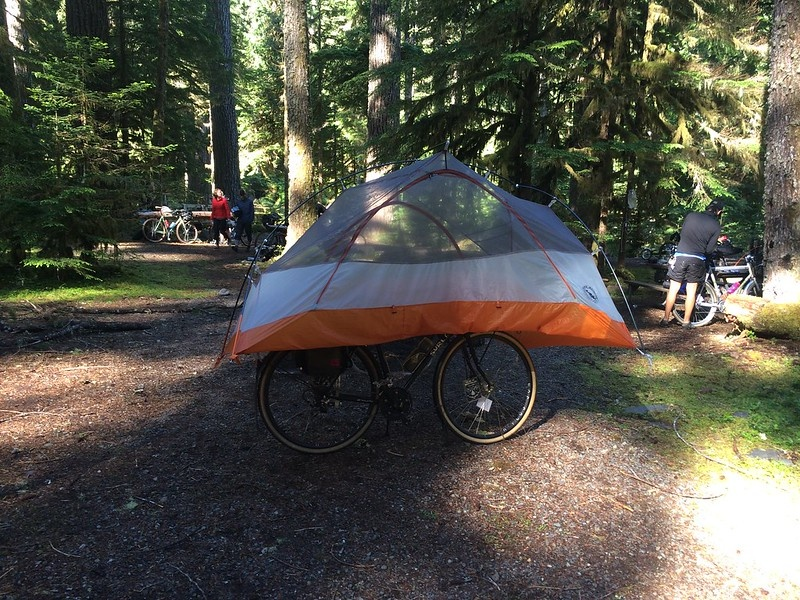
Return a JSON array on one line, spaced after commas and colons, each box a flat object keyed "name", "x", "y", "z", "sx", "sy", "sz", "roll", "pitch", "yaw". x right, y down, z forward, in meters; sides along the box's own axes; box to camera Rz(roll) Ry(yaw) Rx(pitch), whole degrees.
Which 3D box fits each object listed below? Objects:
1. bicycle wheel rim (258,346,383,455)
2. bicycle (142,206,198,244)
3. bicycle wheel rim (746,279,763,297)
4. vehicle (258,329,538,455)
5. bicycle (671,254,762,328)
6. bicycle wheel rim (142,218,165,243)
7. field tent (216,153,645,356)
[{"name": "bicycle wheel rim", "x": -0.995, "y": 1.102, "z": 7.777, "sx": 1.390, "sy": 1.257, "sz": 1.235, "roll": -2, "pitch": 9, "yaw": -8}, {"name": "bicycle", "x": -7.631, "y": -2.466, "z": 21.063, "sx": 1.935, "sy": 1.240, "sz": 0.968, "roll": -3, "pitch": 19, "yaw": -18}, {"name": "bicycle wheel rim", "x": 6.416, "y": -0.192, "z": 11.417, "sx": 0.079, "sy": 0.321, "sz": 0.335, "roll": 15, "pitch": -26, "yaw": -19}, {"name": "vehicle", "x": -0.029, "y": 1.131, "z": 8.153, "sx": 3.086, "sy": 1.869, "sz": 1.558, "roll": -3, "pitch": 5, "yaw": -5}, {"name": "bicycle", "x": 5.944, "y": -0.125, "z": 11.567, "sx": 1.845, "sy": 1.163, "sz": 0.906, "roll": 0, "pitch": -3, "yaw": -7}, {"name": "bicycle wheel rim", "x": -8.087, "y": -2.284, "z": 20.722, "sx": 0.765, "sy": 0.731, "sz": 0.420, "roll": -2, "pitch": 9, "yaw": -10}, {"name": "field tent", "x": 0.457, "y": -0.349, "z": 7.607, "sx": 3.036, "sy": 1.452, "sz": 3.082, "roll": -2, "pitch": 6, "yaw": -4}]
